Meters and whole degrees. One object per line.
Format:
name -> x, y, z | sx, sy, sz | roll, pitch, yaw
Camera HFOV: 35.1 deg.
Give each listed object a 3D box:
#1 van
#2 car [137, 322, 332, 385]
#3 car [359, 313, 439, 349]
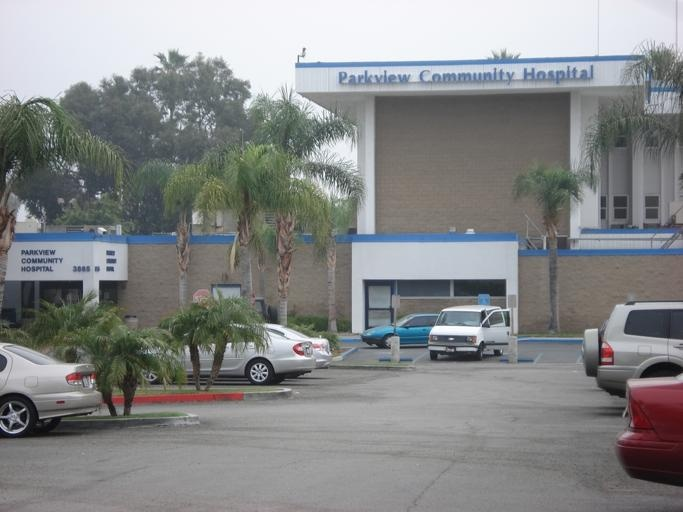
van -> 4.996, 2.799, 41.154 | 1.671, 1.452, 3.050 | -3, -7, 28
car -> -2.423, 2.825, 31.632 | 4.275, 1.734, 2.818 | 1, -3, -10
car -> 2.430, 3.149, 46.216 | 2.885, 0.980, 1.464 | 1, -3, 2
